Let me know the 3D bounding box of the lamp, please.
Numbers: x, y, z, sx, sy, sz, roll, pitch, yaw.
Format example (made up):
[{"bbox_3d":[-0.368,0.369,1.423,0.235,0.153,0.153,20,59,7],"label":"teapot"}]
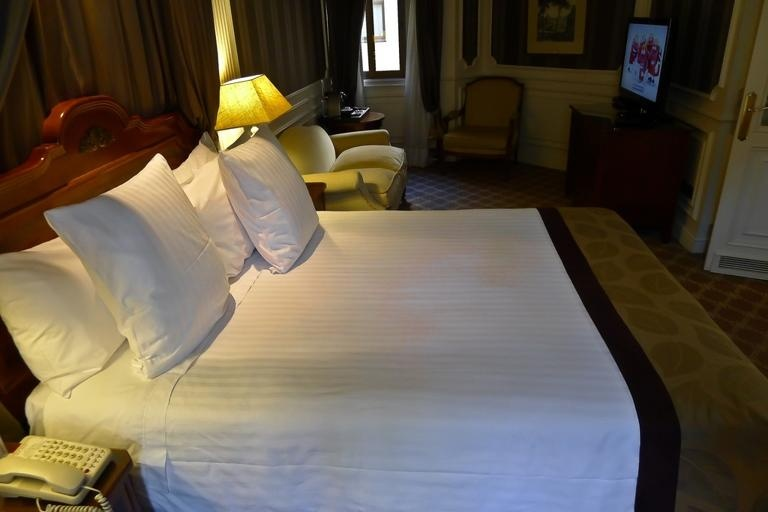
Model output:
[{"bbox_3d":[-1.012,-1.126,4.137,0.478,0.354,0.498,-6,29,4],"label":"lamp"}]

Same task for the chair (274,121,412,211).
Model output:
[{"bbox_3d":[-0.411,-0.849,4.953,0.733,0.693,1.268,-4,31,5],"label":"chair"}]

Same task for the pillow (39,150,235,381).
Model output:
[{"bbox_3d":[-1.288,0.082,2.627,0.459,0.964,0.925,-2,24,12],"label":"pillow"}]
